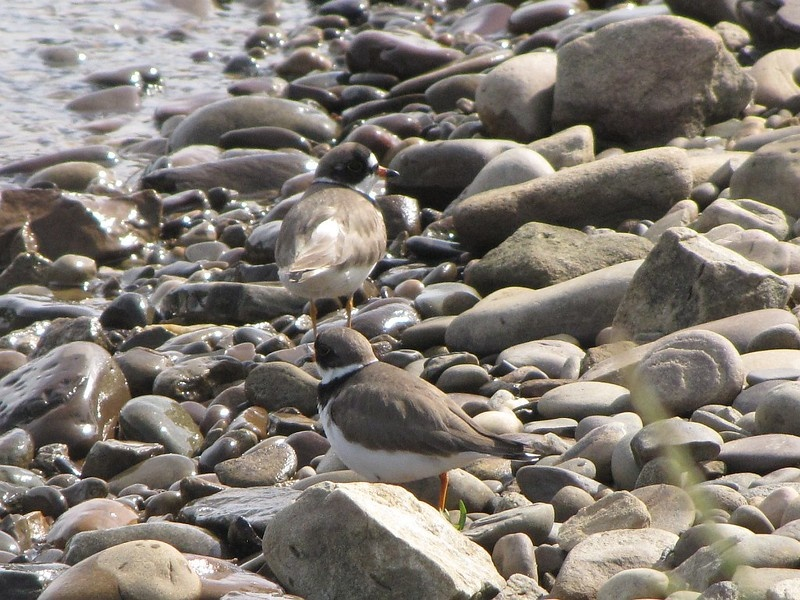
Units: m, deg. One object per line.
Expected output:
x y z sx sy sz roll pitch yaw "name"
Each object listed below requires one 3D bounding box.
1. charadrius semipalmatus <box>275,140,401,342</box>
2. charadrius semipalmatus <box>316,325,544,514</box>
-0.579 -0.449 11.422 1.161 1.702 1.475 -2 24 -6 "charadrius semipalmatus"
0.062 0.783 9.220 1.878 1.120 0.894 5 14 31 "charadrius semipalmatus"
